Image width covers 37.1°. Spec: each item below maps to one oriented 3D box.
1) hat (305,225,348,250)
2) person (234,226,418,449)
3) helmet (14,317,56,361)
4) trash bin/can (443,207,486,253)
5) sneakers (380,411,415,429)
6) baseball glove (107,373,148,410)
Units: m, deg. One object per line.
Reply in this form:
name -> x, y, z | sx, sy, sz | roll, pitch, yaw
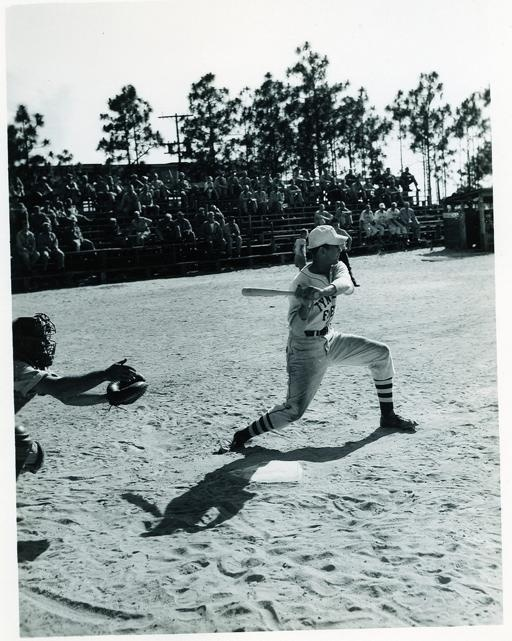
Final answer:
hat -> 0.488, -0.562, 5.207 | 0.251, 0.105, 0.156 | -4, 20, 3
person -> 0.502, 0.148, 5.407 | 1.184, 1.619, 0.498 | -16, 18, -42
helmet -> -1.206, 0.109, 4.318 | 0.295, 0.226, 0.214 | 1, 6, -12
trash bin/can -> 5.504, -2.173, 19.719 | 1.117, 1.327, 1.520 | 1, 7, 32
sneakers -> 1.080, 0.781, 5.895 | 0.346, 0.132, 0.108 | 2, 13, 18
baseball glove -> -0.691, 0.386, 4.231 | 0.225, 0.080, 0.193 | -30, 20, -33
